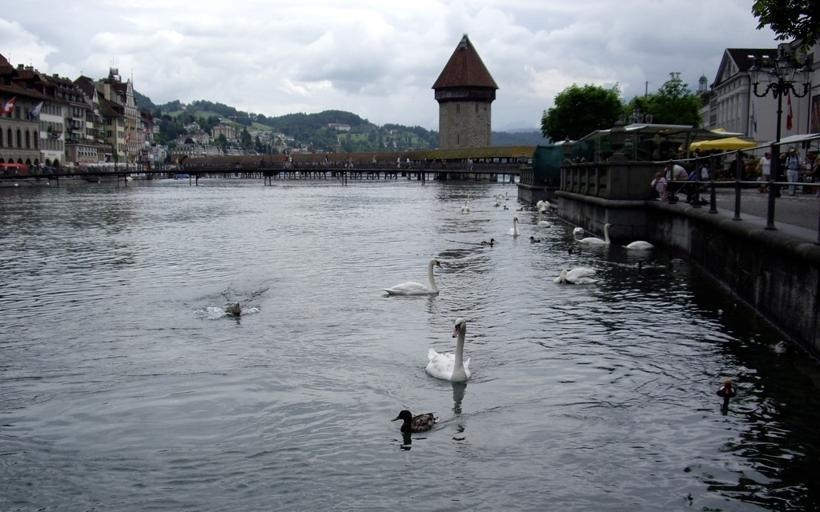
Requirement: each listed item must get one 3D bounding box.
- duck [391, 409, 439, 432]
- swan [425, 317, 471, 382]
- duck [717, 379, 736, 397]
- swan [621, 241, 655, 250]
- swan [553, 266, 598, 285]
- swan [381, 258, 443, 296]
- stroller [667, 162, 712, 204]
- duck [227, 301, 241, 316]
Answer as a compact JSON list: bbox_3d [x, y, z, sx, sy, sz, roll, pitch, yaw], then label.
[{"bbox_3d":[0.084,2.933,14.652,0.830,0.337,0.338,3,-1,-8],"label":"duck"},{"bbox_3d":[0.830,1.942,16.854,0.909,1.337,1.883,-1,2,-15],"label":"swan"},{"bbox_3d":[5.948,2.464,15.465,0.199,0.217,0.581,8,12,23],"label":"duck"},{"bbox_3d":[8.295,-0.372,29.739,0.918,0.335,0.726,2,9,17],"label":"swan"},{"bbox_3d":[4.924,0.611,24.328,1.190,0.434,0.533,-6,6,-4],"label":"swan"},{"bbox_3d":[0.459,0.682,23.695,1.135,1.219,2.215,-1,0,-37],"label":"swan"},{"bbox_3d":[9.511,-2.503,28.223,1.488,1.373,2.179,-4,8,-27],"label":"stroller"},{"bbox_3d":[-4.419,1.337,20.890,0.357,0.345,0.344,-5,6,-32],"label":"duck"}]
